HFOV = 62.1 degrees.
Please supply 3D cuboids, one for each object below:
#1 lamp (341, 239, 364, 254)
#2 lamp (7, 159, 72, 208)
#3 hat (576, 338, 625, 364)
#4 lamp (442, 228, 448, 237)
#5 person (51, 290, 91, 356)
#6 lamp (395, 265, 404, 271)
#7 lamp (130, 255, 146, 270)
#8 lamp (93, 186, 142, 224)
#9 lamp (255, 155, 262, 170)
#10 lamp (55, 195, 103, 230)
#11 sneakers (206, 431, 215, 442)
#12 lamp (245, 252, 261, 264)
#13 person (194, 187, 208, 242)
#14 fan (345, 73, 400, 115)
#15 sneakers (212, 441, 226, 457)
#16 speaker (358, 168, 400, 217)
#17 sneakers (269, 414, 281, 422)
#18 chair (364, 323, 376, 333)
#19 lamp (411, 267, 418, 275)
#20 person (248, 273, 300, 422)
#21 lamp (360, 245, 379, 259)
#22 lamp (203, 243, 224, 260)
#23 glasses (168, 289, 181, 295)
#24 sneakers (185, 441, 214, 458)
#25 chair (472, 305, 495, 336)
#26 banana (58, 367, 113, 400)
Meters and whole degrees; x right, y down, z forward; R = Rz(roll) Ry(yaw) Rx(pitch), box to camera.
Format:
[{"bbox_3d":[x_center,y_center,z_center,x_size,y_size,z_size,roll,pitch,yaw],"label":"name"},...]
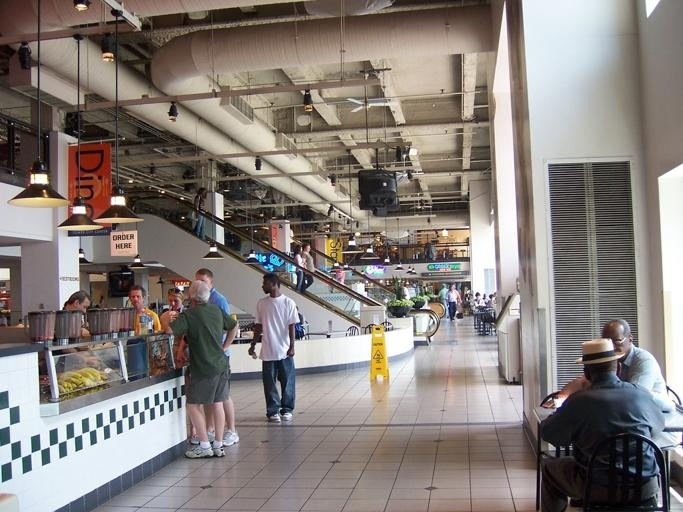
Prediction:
[{"bbox_3d":[0.412,-0.421,23.278,0.802,0.848,0.799,0,-8,-8],"label":"lamp"},{"bbox_3d":[-2.823,-0.677,5.308,0.398,0.395,0.510,1,-4,-45],"label":"lamp"},{"bbox_3d":[1.602,0.580,3.587,0.255,0.098,0.290,-8,-2,12],"label":"hat"},{"bbox_3d":[6.910,-1.494,37.482,0.307,0.472,0.703,-3,-3,26],"label":"lamp"},{"bbox_3d":[-2.819,0.926,6.018,0.337,1.074,0.303,-1,6,-17],"label":"person"},{"bbox_3d":[2.734,0.556,26.405,0.421,0.436,0.412,1,-5,-14],"label":"lamp"},{"bbox_3d":[-5.351,0.155,14.897,0.408,0.437,0.417,6,8,44],"label":"lamp"},{"bbox_3d":[-2.349,-0.486,6.010,0.480,0.501,0.477,0,4,-14],"label":"lamp"},{"bbox_3d":[-2.072,-2.299,14.011,0.117,0.360,0.377,-1,-3,-9],"label":"lamp"},{"bbox_3d":[-2.829,-0.440,6.135,0.426,0.446,0.440,0,2,7],"label":"lamp"},{"bbox_3d":[-1.338,1.850,5.874,0.087,0.115,0.113,-5,-13,-6],"label":"sneakers"},{"bbox_3d":[-2.403,0.032,15.273,0.338,0.346,0.565,-1,-3,-8],"label":"lamp"},{"bbox_3d":[-3.820,-1.140,15.212,0.309,1.309,1.370,-1,-3,-15],"label":"person"},{"bbox_3d":[0.584,-3.083,11.352,1.037,0.252,0.912,-1,1,-38],"label":"fan"},{"bbox_3d":[-1.222,1.912,5.657,0.080,0.096,0.212,1,3,-2],"label":"sneakers"},{"bbox_3d":[0.963,-1.313,11.992,0.938,1.282,0.868,0,1,-14],"label":"speaker"},{"bbox_3d":[-0.814,1.984,7.010,0.065,0.079,0.184,1,2,7],"label":"sneakers"},{"bbox_3d":[0.565,1.536,12.121,0.159,0.204,0.406,-2,-3,2],"label":"chair"},{"bbox_3d":[4.320,0.900,33.691,0.350,0.362,0.349,-2,-4,-9],"label":"lamp"},{"bbox_3d":[-0.841,1.122,7.032,0.584,1.814,0.477,-1,-3,-9],"label":"person"},{"bbox_3d":[1.198,-0.178,24.991,0.653,0.680,0.640,1,-4,-44],"label":"lamp"},{"bbox_3d":[-3.037,-0.133,13.456,0.523,0.317,0.519,1,-5,-14],"label":"lamp"},{"bbox_3d":[-1.813,0.365,6.146,0.099,0.038,0.114,0,-15,4],"label":"glasses"},{"bbox_3d":[-1.408,1.927,5.696,0.313,0.143,0.134,1,-1,-1],"label":"sneakers"},{"bbox_3d":[4.777,2.114,18.834,0.652,0.896,4.701,-2,-3,13],"label":"chair"},{"bbox_3d":[-2.005,0.968,4.398,0.088,0.110,0.370,5,6,14],"label":"banana"}]
